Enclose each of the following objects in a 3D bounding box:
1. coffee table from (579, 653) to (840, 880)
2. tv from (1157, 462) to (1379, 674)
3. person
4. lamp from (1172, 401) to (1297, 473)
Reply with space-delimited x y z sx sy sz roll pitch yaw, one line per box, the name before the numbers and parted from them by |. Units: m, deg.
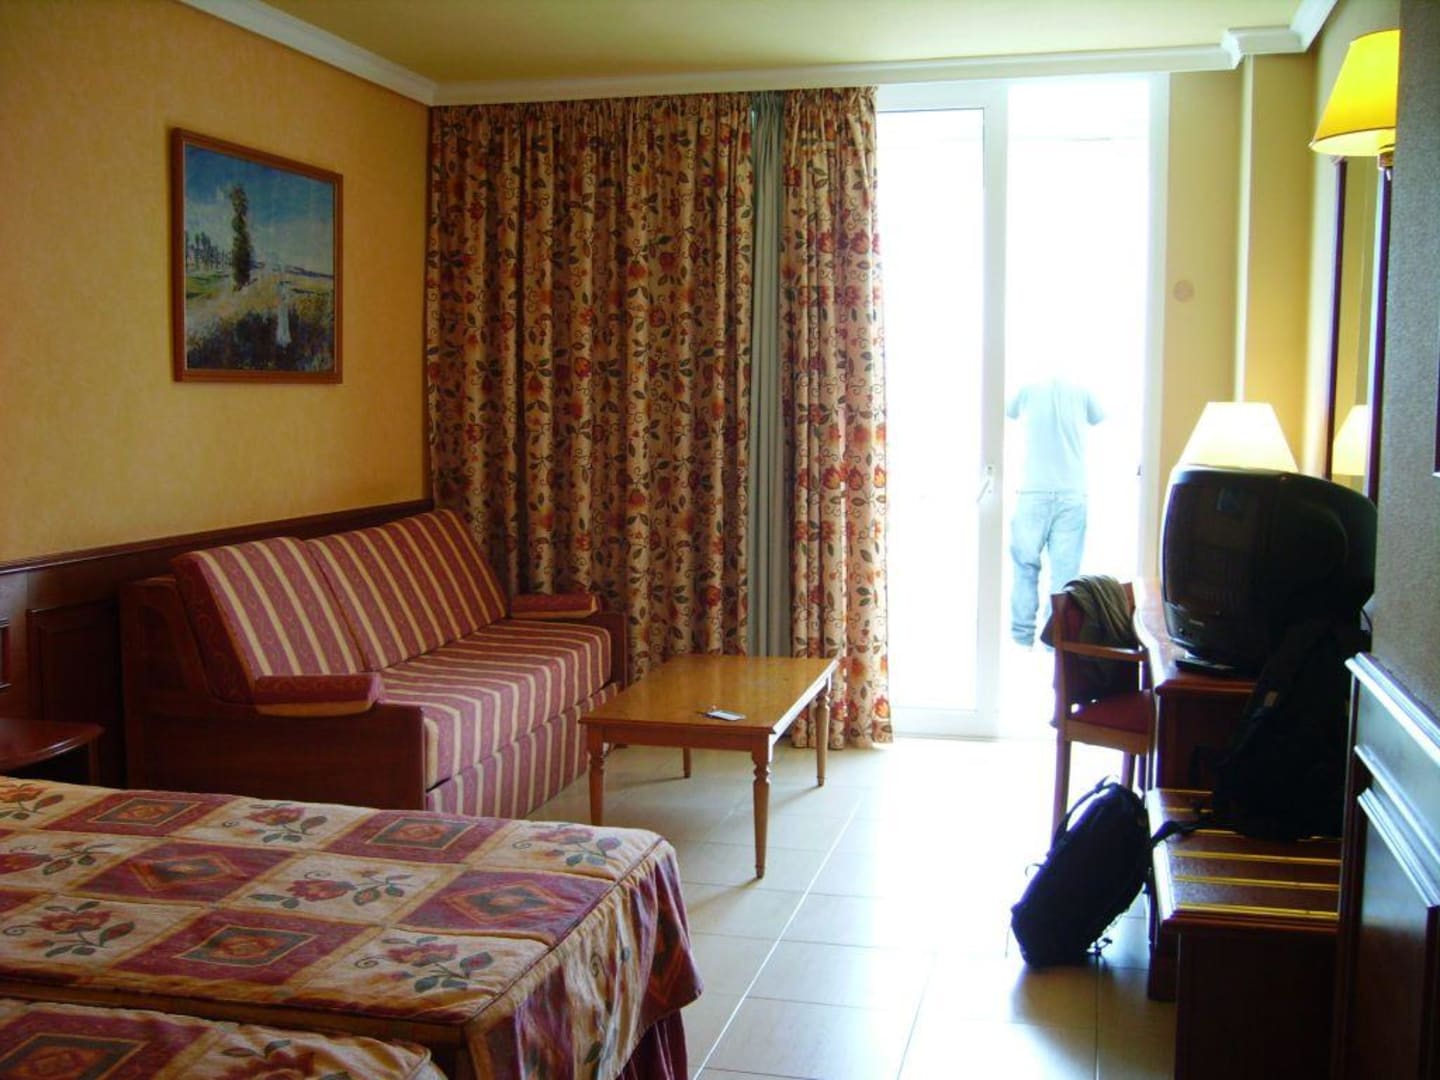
coffee table | -0.062 0.830 4.792 0.879 0.424 0.550 -6 16 32
tv | 1.549 0.092 3.457 0.548 0.580 0.200 5 11 26
person | 1.822 -0.147 6.670 0.502 1.503 0.218 3 10 17
lamp | 1.992 -0.378 4.746 0.470 0.315 0.491 0 5 24
